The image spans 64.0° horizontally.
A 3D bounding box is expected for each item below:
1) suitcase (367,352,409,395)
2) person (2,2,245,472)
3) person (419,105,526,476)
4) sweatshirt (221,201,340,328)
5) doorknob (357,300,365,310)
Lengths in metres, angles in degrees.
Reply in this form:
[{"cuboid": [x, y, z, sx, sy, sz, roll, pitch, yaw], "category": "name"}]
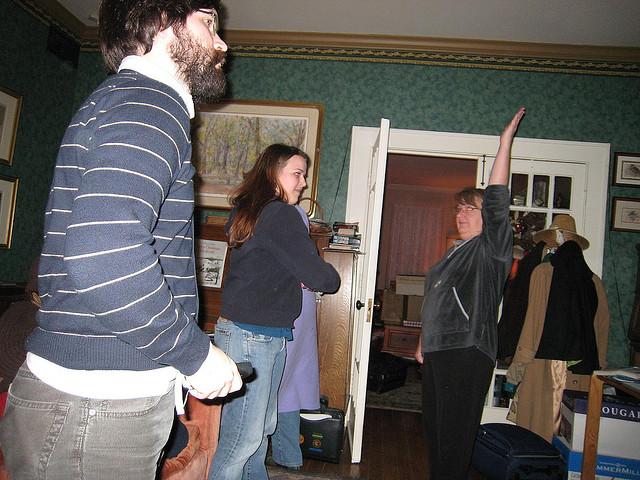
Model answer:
[{"cuboid": [0.716, 1.415, 5.495, 0.385, 0.312, 1.074, 3, -1, 7], "category": "suitcase"}, {"cuboid": [-0.618, -0.067, 1.667, 0.670, 1.613, 0.343, 3, -1, -25], "category": "person"}, {"cuboid": [0.827, 0.329, 2.907, 0.527, 1.648, 0.296, 2, -1, 29], "category": "person"}, {"cuboid": [-0.205, 0.115, 2.428, 0.584, 0.600, 0.506, 15, 5, -6], "category": "sweatshirt"}, {"cuboid": [0.271, 0.441, 3.439, 0.033, 0.051, 0.105, 3, -1, -7], "category": "doorknob"}]
